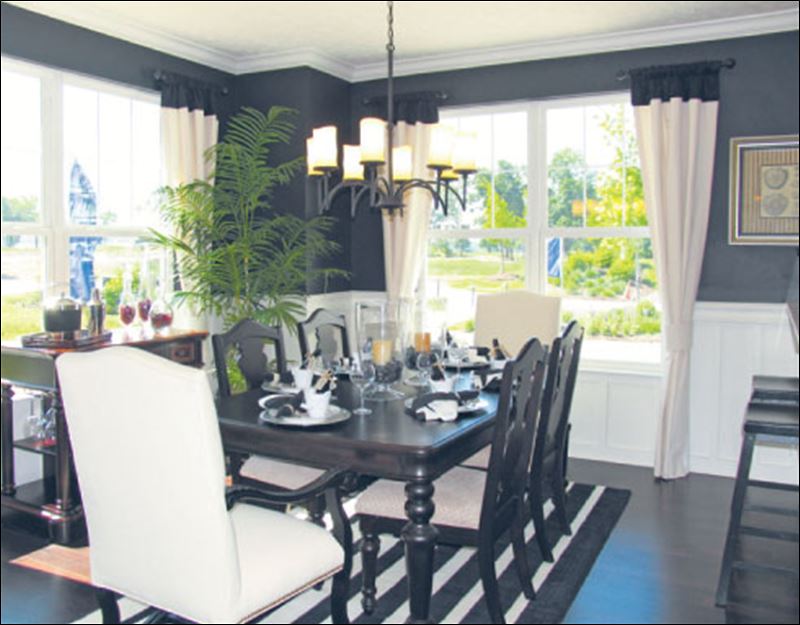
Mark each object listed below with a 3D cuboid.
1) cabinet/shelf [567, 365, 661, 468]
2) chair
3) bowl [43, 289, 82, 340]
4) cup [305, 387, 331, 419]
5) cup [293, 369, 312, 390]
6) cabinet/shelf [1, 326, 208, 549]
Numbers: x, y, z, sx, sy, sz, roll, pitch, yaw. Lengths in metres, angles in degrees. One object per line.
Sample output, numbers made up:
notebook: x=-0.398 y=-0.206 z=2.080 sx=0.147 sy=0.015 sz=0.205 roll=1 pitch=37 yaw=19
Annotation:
cabinet/shelf: x=1.543 y=0.741 z=4.490 sx=0.729 sy=0.704 sz=0.242 roll=2 pitch=1 yaw=27
chair: x=-0.088 y=0.539 z=3.857 sx=2.280 sy=1.214 sz=3.016 roll=5 pitch=10 yaw=26
bowl: x=-1.922 y=0.014 z=3.632 sx=0.193 sy=0.272 sz=0.192 roll=0 pitch=3 yaw=0
cup: x=-0.342 y=0.378 z=2.611 sx=0.110 sy=0.110 sz=0.118 roll=0 pitch=-7 yaw=0
cup: x=-0.427 y=0.296 z=2.798 sx=0.087 sy=0.091 sz=0.086 roll=1 pitch=4 yaw=0
cabinet/shelf: x=-1.767 y=0.609 z=4.063 sx=1.020 sy=1.457 sz=1.542 roll=1 pitch=3 yaw=18
